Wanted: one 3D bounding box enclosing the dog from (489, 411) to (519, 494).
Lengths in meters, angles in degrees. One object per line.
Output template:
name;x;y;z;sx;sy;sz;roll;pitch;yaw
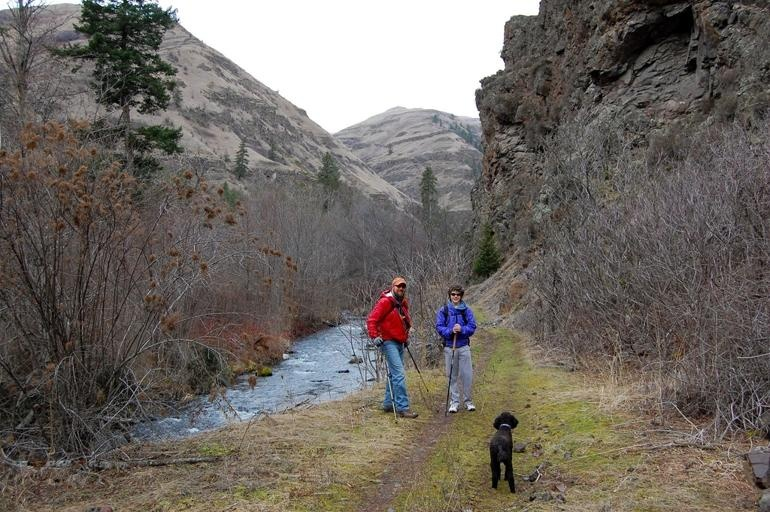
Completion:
dog;2.508;4.117;13.870;0.592;1.234;1.173;-3;8;11

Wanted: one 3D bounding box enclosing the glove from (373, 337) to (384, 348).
glove;-0.150;2.108;16.065;0.219;0.329;0.345;-4;8;6

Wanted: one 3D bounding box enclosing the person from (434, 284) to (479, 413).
person;1.840;2.274;16.617;0.905;3.227;1.158;-4;8;7

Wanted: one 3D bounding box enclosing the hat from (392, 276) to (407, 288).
hat;0.354;0.661;16.481;0.329;0.283;0.655;-5;8;1

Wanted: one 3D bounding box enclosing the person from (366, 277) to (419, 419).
person;0.180;2.298;16.285;1.088;3.435;0.673;-6;8;-10
